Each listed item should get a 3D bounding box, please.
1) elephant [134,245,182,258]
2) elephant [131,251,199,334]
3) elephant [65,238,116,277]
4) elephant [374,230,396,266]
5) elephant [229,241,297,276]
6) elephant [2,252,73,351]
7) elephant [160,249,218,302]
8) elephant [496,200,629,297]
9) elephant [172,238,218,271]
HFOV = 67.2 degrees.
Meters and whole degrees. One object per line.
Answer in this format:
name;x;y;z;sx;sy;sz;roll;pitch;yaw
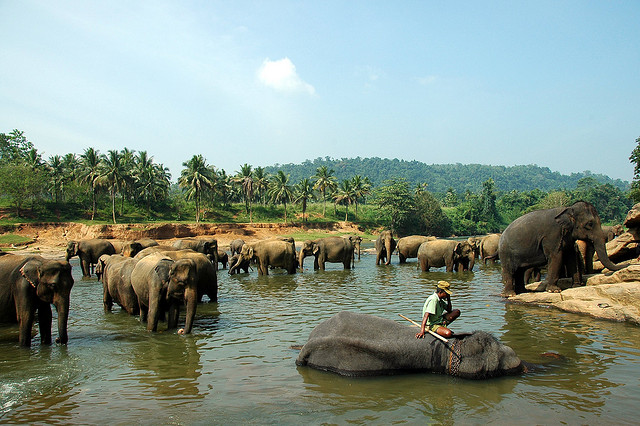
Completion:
elephant;-7.464;1.745;22.092;1.873;0.974;0.793;1;-2;-12
elephant;-5.318;2.719;16.409;2.676;2.499;1.446;9;16;41
elephant;-14.769;2.922;31.141;3.407;2.532;1.541;1;10;-2
elephant;4.613;2.561;34.406;1.245;2.713;3.028;0;12;6
elephant;-3.171;2.679;28.942;3.346;1.975;1.416;-2;12;-2
elephant;-8.657;2.795;14.797;2.023;2.760;0.881;-1;12;1
elephant;-4.871;2.376;19.416;2.911;1.747;1.387;5;8;40
elephant;9.376;1.407;19.020;4.918;3.360;2.128;-10;-8;40
elephant;-7.827;2.440;29.888;3.388;1.961;1.361;7;5;-38
